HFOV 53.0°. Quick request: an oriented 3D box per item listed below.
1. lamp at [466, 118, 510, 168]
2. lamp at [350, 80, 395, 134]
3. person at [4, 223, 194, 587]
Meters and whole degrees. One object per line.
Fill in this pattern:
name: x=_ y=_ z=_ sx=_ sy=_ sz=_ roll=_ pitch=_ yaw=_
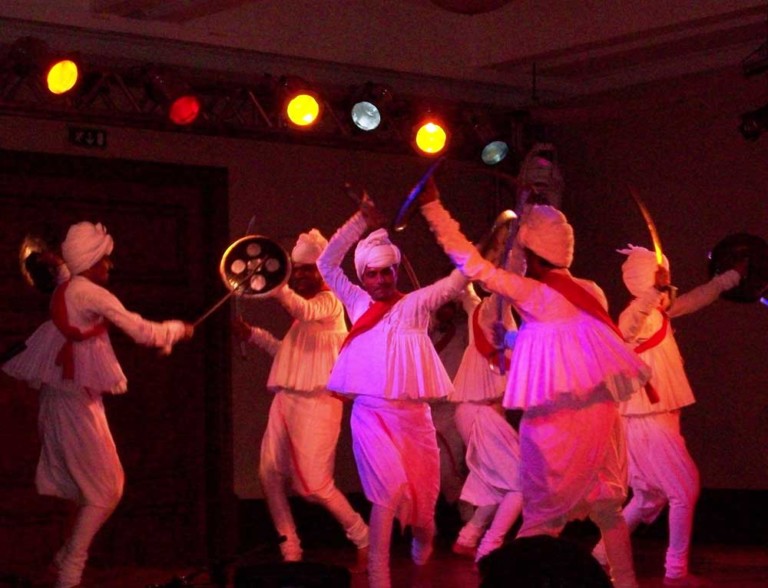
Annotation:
lamp: x=0.937 y=-1.367 z=6.995 sx=0.233 sy=0.482 sz=0.228 roll=-31 pitch=25 yaw=22
lamp: x=-0.115 y=-1.543 z=6.472 sx=0.325 sy=0.444 sz=0.240 roll=26 pitch=-8 yaw=-17
person: x=-1.897 y=0.695 z=4.915 sx=1.041 sy=2.303 sz=0.428 roll=1 pitch=-2 yaw=24
